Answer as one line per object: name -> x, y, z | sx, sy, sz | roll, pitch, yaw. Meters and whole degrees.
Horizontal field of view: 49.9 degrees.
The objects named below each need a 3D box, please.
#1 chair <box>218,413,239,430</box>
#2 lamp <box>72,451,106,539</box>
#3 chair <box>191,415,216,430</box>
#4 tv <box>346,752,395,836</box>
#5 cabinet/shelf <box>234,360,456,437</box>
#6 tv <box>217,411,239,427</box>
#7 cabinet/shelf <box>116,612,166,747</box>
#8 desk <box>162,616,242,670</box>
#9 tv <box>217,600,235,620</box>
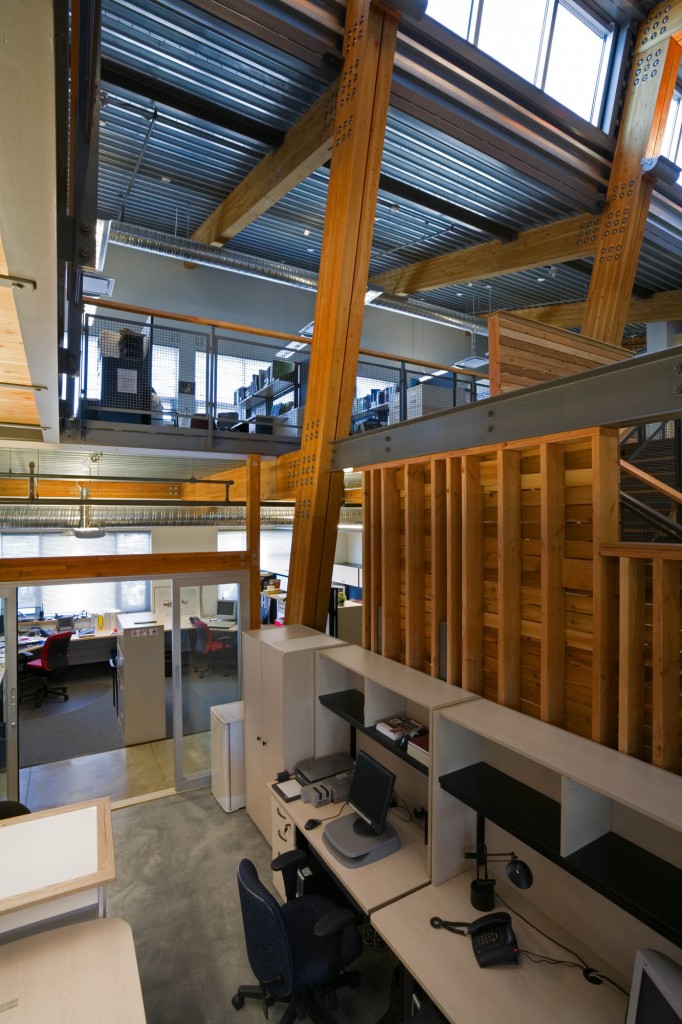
chair -> -1.064, -0.874, 6.954 | 0.157, 0.177, 0.157 | -6, -1, 9
lamp -> -3.298, -0.223, 9.548 | 0.346, 1.187, 2.119 | -1, 7, -20
chair -> -1.242, -0.814, 6.597 | 0.152, 0.168, 0.156 | 0, 1, -24
tv -> 0.176, 1.653, 4.268 | 0.154, 0.503, 0.483 | 8, -3, -20
cabinet/shelf -> 0.298, -1.309, 7.994 | 1.475, 0.378, 1.390 | 1, -4, -30
tv -> -1.068, -0.882, 6.939 | 0.142, 0.158, 0.140 | -3, 6, 30
cabinet/shelf -> -2.174, 1.845, 8.013 | 0.411, 1.322, 1.049 | -2, 6, -19
desk -> -1.281, 1.162, 6.724 | 0.462, 0.750, 0.516 | 0, 0, -44
tv -> -1.039, 0.876, 6.700 | 0.175, 0.188, 0.163 | 2, -3, -17
